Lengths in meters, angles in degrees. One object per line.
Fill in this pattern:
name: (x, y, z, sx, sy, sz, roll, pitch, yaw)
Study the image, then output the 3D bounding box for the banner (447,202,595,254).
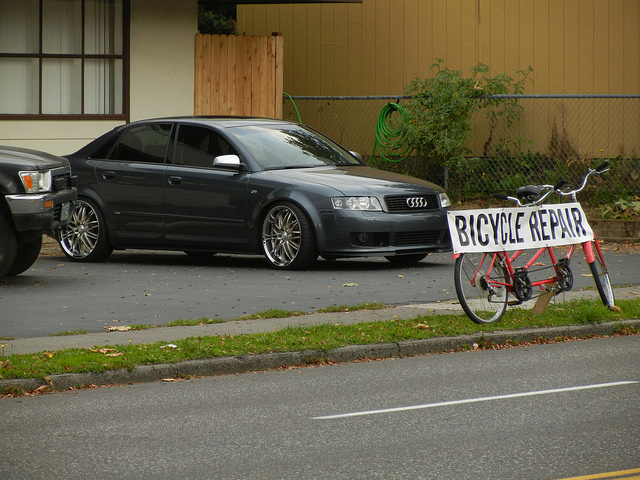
banner: (2.357, -0.165, 8.154, 0.146, 0.490, 1.956, -23, 12, -37)

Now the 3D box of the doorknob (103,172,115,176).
doorknob: (-3.881, -1.208, 12.425, 0.234, 0.057, 0.046, 3, 6, 30)
